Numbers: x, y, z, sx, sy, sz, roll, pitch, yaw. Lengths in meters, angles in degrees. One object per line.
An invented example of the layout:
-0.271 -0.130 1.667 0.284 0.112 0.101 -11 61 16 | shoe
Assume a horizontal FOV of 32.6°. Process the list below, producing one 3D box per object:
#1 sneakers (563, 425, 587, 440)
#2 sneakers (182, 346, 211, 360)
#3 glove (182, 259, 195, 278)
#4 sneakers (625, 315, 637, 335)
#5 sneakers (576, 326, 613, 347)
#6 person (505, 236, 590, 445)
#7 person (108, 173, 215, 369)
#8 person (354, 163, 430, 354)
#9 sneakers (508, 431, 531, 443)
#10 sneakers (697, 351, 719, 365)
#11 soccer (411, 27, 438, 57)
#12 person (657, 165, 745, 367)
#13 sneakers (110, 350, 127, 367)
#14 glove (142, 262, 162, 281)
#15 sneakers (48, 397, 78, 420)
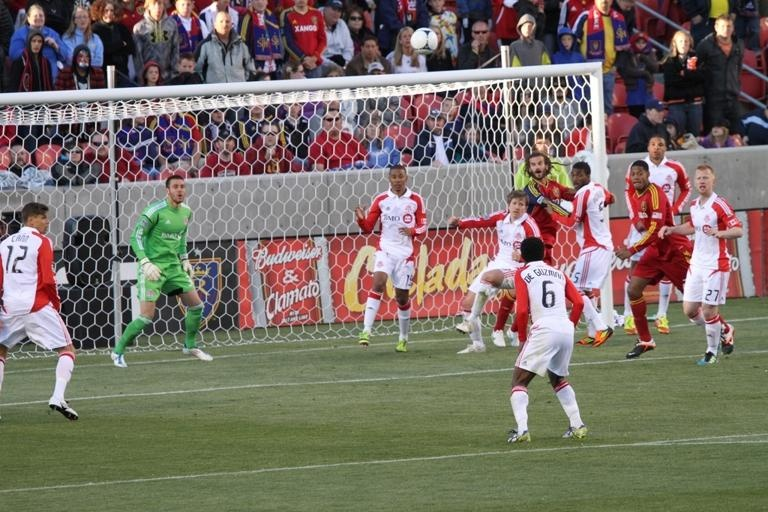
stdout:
1.934 1.768 13.403 0.249 0.105 0.264 -3 1 10 | sneakers
-2.497 1.292 17.702 0.432 0.163 0.160 14 16 19 | sneakers
-2.594 0.138 17.694 0.070 0.232 0.164 -29 14 -30 | glove
3.492 0.964 18.678 0.117 0.149 0.324 2 7 8 | sneakers
2.757 1.109 17.677 0.548 0.237 0.190 -13 18 34 | sneakers
1.704 0.809 13.942 0.801 1.595 1.574 -3 1 9 | person
-2.945 0.172 17.476 1.239 2.276 0.615 -3 1 -14 | person
0.108 0.012 17.801 0.950 2.077 0.755 -3 1 -1 | person
1.330 1.818 13.338 0.274 0.136 0.100 -3 3 43 | sneakers
3.986 1.249 16.147 0.117 0.125 0.281 0 1 32 | sneakers
0.715 -3.621 22.089 0.414 0.330 0.403 -16 -19 28 | soccer
4.032 0.074 16.448 0.781 1.731 0.949 -3 1 8 | person
-3.466 1.342 17.281 0.119 0.138 0.325 -3 8 -41 | sneakers
-3.047 0.183 17.272 0.250 0.227 0.143 -3 1 -13 | glove
-3.478 1.661 14.382 0.287 0.225 0.410 -3 1 -10 | sneakers
